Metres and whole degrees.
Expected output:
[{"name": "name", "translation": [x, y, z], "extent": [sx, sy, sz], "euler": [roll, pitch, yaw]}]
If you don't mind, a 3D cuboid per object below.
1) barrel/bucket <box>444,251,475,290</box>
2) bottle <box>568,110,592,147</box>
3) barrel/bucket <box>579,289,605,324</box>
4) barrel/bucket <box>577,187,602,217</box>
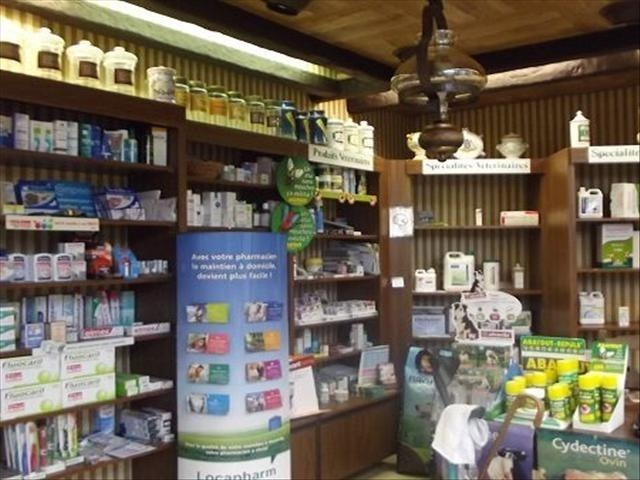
[{"name": "barrel/bucket", "translation": [1.523, 0.330, 7.157], "extent": [0.323, 0.447, 0.165], "euler": [-1, 18, 8]}, {"name": "bottle", "translation": [2.628, -1.103, 6.614], "extent": [0.166, 0.363, 0.319], "euler": [-3, 0, 25]}, {"name": "barrel/bucket", "translation": [2.793, 0.708, 6.747], "extent": [0.238, 0.329, 0.184], "euler": [1, -13, 9]}, {"name": "barrel/bucket", "translation": [2.732, -0.368, 6.627], "extent": [0.294, 0.397, 0.141], "euler": [0, -5, 4]}]
